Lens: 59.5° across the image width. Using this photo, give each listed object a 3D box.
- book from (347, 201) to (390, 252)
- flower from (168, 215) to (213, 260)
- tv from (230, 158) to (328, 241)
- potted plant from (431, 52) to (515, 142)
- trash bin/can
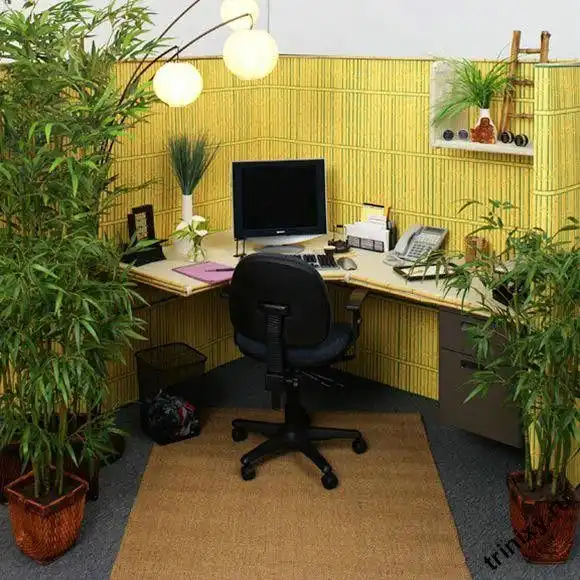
[{"bbox_3d":[0.510,-0.391,3.145,0.295,0.281,0.268,7,14,28],"label":"book"},{"bbox_3d":[-0.561,-0.295,2.871,0.263,0.236,0.253,1,15,-2],"label":"flower"},{"bbox_3d":[-0.075,-0.552,3.082,0.544,0.422,0.053,-2,4,-11],"label":"tv"},{"bbox_3d":[0.961,-0.969,2.636,0.368,0.408,0.335,10,17,33],"label":"potted plant"},{"bbox_3d":[-0.685,0.596,2.862,0.455,0.541,0.442,-8,17,-38],"label":"trash bin/can"}]
